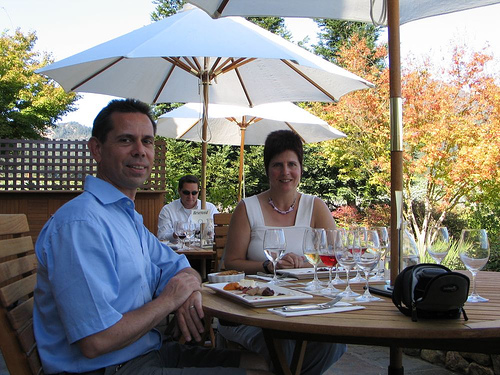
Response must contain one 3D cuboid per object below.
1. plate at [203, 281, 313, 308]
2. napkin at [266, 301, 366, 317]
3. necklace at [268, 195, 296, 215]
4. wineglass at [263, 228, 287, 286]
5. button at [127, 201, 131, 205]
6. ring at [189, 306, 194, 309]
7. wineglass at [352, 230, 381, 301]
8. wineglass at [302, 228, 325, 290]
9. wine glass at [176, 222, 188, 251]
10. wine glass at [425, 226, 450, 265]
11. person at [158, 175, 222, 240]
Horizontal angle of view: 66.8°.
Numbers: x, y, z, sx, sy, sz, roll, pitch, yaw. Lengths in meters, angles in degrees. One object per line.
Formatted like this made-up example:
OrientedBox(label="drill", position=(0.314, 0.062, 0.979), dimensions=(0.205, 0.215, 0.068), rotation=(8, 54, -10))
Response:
OrientedBox(label="plate", position=(0.034, 0.459, 1.642), dimensions=(0.483, 0.040, 0.234), rotation=(-3, -6, 41))
OrientedBox(label="napkin", position=(0.250, 0.456, 1.420), dimensions=(0.365, 0.024, 0.124), rotation=(1, -4, -6))
OrientedBox(label="necklace", position=(0.233, 0.127, 2.751), dimensions=(0.108, 0.139, 0.026), rotation=(-2, -1, -3))
OrientedBox(label="wineglass", position=(0.125, 0.343, 1.878), dimensions=(0.105, 0.257, 0.101), rotation=(2, -7, -15))
OrientedBox(label="button", position=(-0.539, 0.068, 1.692), dimensions=(0.006, 0.015, 0.016), rotation=(-1, -3, 39))
OrientedBox(label="ring", position=(-0.254, 0.520, 1.651), dimensions=(0.019, 0.012, 0.007), rotation=(0, -2, 9))
OrientedBox(label="wineglass", position=(0.499, 0.326, 1.628), dimensions=(0.116, 0.282, 0.206), rotation=(0, -2, 20))
OrientedBox(label="wineglass", position=(0.317, 0.339, 1.834), dimensions=(0.116, 0.290, 0.127), rotation=(1, -4, 28))
OrientedBox(label="wine glass", position=(-0.864, 0.634, 4.830), dimensions=(0.168, 0.394, 0.168), rotation=(-3, 3, -36))
OrientedBox(label="wine glass", position=(0.907, 0.294, 1.840), dimensions=(0.103, 0.204, 0.475), rotation=(0, -3, 27))
OrientedBox(label="person", position=(-0.866, 0.485, 5.430), dimensions=(0.869, 1.310, 0.762), rotation=(0, -9, -14))
